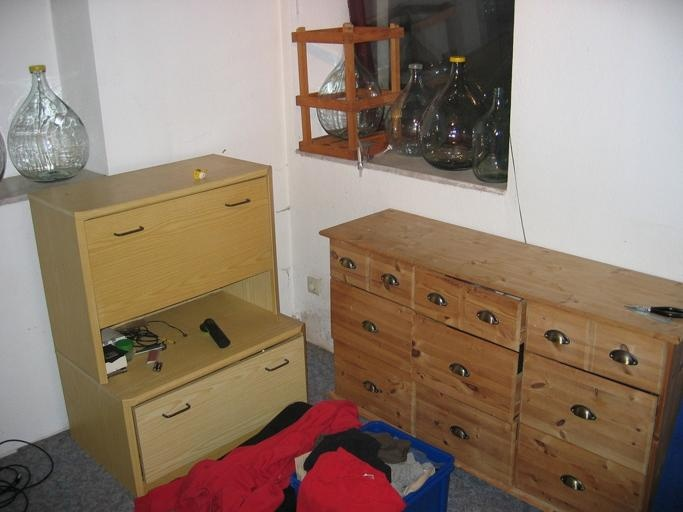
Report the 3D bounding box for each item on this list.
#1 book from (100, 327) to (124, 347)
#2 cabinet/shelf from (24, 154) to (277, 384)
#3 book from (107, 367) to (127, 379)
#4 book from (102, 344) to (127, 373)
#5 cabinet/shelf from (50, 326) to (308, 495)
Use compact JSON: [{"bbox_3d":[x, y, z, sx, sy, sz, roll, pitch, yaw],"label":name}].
[{"bbox_3d":[-1.040,0.357,2.480,0.084,0.020,0.085,21,30,31],"label":"book"},{"bbox_3d":[-0.879,0.063,2.461,0.476,0.661,0.827,27,42,34],"label":"cabinet/shelf"},{"bbox_3d":[-0.972,0.507,2.387,0.047,0.011,0.043,-15,24,-38],"label":"book"},{"bbox_3d":[-0.976,0.447,2.388,0.103,0.047,0.104,25,32,30],"label":"book"},{"bbox_3d":[-0.828,0.434,2.513,0.671,0.449,0.923,23,34,38],"label":"cabinet/shelf"}]
